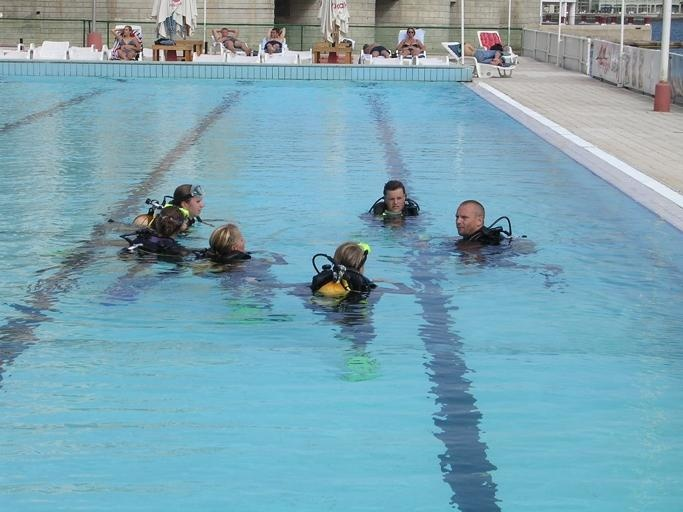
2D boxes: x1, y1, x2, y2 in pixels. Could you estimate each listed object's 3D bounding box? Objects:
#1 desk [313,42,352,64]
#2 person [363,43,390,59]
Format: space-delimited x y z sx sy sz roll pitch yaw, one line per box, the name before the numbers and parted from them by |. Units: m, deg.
desk | -0.259 -6.034 23.257 1.154 0.788 1.635 -1 8 -2
person | 1.183 -6.686 25.475 0.748 0.316 1.403 1 14 -5
